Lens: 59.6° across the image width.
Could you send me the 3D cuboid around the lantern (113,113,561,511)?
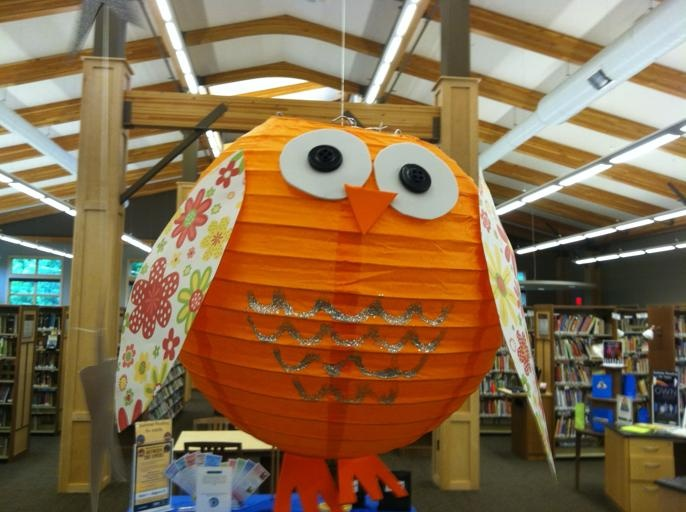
[{"bbox_3d":[0.020,0.114,2.506,1.543,1.573,1.225,4,-8,-10],"label":"lantern"}]
